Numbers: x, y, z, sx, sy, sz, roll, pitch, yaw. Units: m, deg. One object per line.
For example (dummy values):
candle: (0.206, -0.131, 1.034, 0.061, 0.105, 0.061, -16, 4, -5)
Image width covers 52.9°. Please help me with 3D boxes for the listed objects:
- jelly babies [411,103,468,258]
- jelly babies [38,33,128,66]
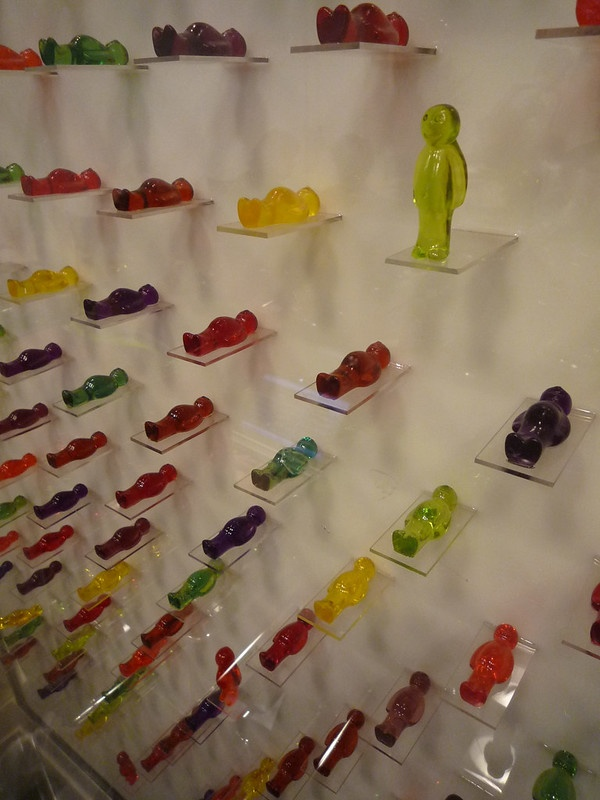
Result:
jelly babies: (0.211, -0.322, 0.920, 0.078, 0.234, 0.186, 11, 8, 13)
jelly babies: (-0.456, -0.709, 1.242, 0.141, 0.045, 0.102, -4, 38, -16)
